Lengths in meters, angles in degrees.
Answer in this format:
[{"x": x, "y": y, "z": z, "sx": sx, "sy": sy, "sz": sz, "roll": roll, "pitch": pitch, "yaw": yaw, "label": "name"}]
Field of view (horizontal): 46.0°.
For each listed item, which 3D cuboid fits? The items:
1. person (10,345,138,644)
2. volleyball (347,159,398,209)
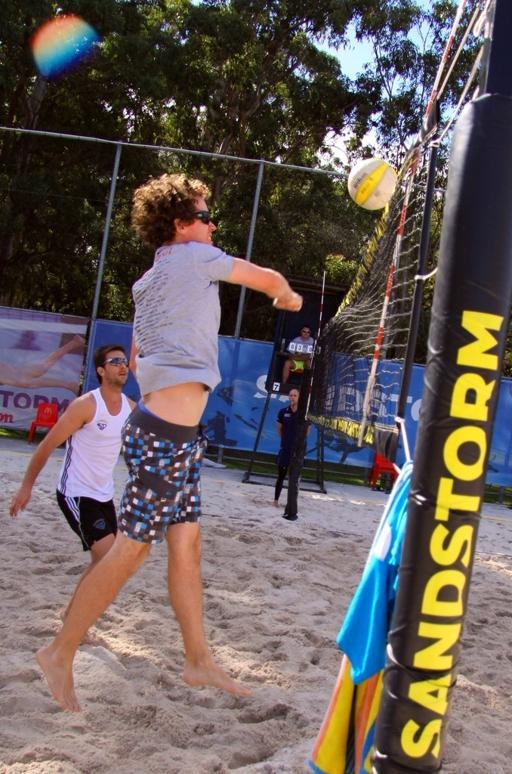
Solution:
[{"x": -0.847, "y": 0.468, "z": 3.041, "sx": 0.586, "sy": 1.278, "sz": 0.599, "roll": 23, "pitch": 1, "yaw": 30, "label": "person"}, {"x": 0.744, "y": -1.321, "z": 3.895, "sx": 0.291, "sy": 0.314, "sz": 0.267, "roll": 8, "pitch": -2, "yaw": 13, "label": "volleyball"}]
